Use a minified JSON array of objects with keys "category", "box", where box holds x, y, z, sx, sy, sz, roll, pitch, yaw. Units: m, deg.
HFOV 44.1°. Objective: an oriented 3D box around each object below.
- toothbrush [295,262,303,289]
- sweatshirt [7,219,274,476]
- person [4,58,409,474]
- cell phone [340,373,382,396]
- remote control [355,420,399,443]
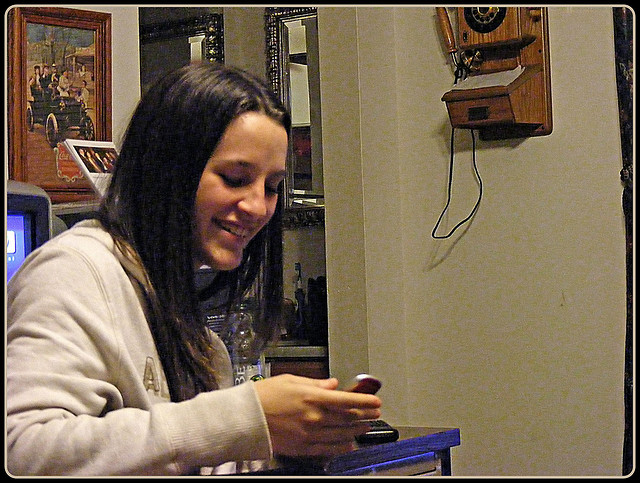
[{"category":"toothbrush","box":[-0.084,0.134,3.134,0.028,0.101,0.023,-1,-2,-4]},{"category":"sweatshirt","box":[-0.375,0.197,1.618,0.545,0.506,0.248,-1,-3,-5]},{"category":"person","box":[-0.298,0.019,1.668,0.687,0.869,0.459,0,-3,-22]},{"category":"cell phone","box":[0.092,0.300,1.662,0.076,0.019,0.041,-25,-26,37]},{"category":"remote control","box":[0.121,0.412,1.712,0.094,0.036,0.118,0,-2,-2]}]
